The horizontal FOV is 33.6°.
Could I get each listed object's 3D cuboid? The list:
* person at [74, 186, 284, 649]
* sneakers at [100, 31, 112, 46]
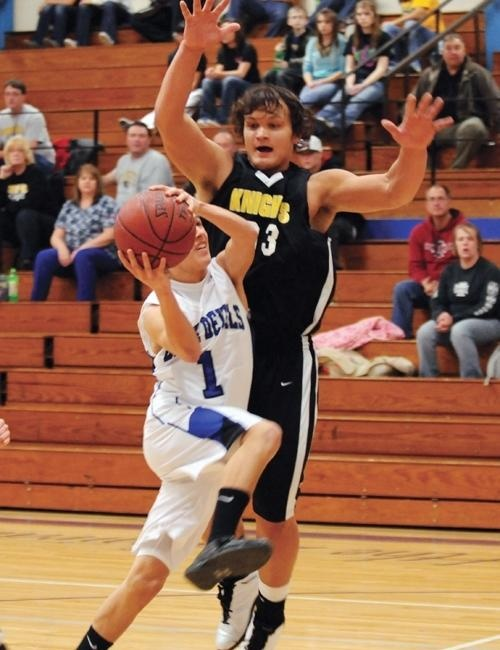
[{"bbox_3d":[-0.171,0.262,2.342,0.534,1.291,0.677,1,4,9],"label":"person"},{"bbox_3d":[-1.623,-3.226,9.368,0.180,0.134,0.161,0,-8,-1],"label":"sneakers"}]
